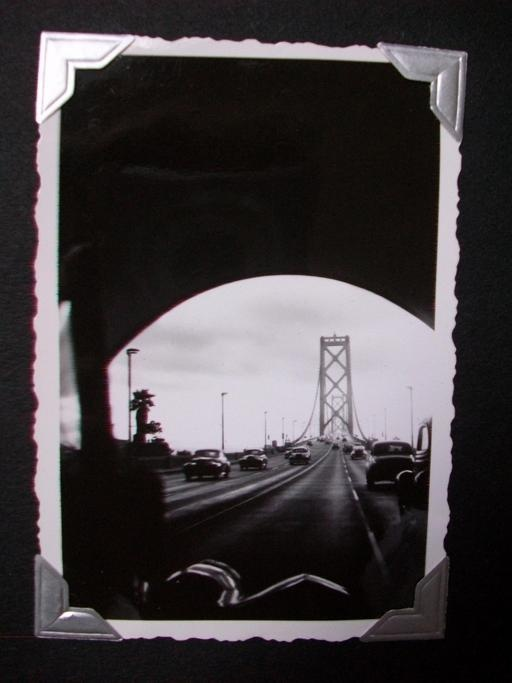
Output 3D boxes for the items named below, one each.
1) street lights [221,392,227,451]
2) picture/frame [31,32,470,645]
[{"bbox_3d":[-0.129,0.313,3.126,0.023,0.229,0.056,2,-4,-10],"label":"street lights"},{"bbox_3d":[-0.047,0.014,3.133,1.952,3.062,0.194,0,-2,1],"label":"picture/frame"}]
